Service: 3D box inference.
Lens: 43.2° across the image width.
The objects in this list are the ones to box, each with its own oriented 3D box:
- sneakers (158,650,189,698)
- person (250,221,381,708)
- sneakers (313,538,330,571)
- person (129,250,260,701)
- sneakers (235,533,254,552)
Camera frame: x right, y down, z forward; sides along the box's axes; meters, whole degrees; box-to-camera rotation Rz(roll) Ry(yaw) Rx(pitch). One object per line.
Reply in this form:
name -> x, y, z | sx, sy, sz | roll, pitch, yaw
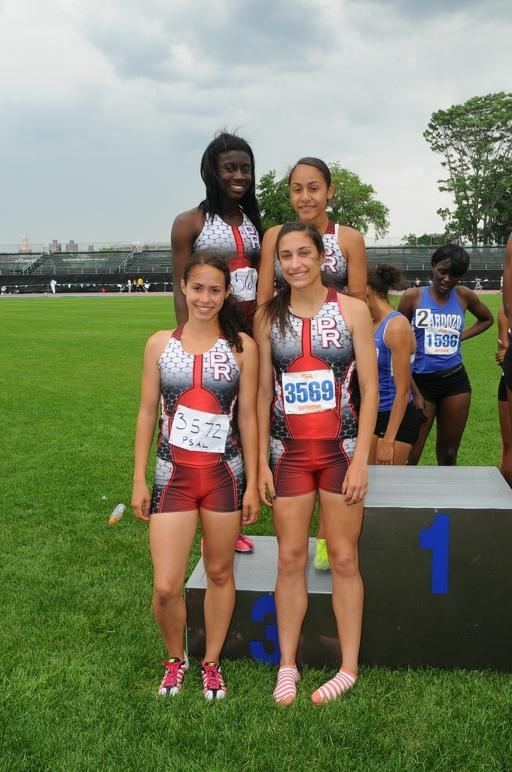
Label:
sneakers -> -0.343, 1.180, 2.655 | 0.101, 0.099, 0.233 | -2, 6, 0
person -> 0.257, 0.371, 2.635 | 0.499, 1.675, 0.510 | -2, 7, 1
sneakers -> 0.319, 0.818, 3.097 | 0.094, 0.176, 0.066 | -2, -22, 22
person -> -0.225, 0.334, 2.675 | 0.568, 1.767, 0.511 | -4, 7, -20
sneakers -> -0.056, 0.829, 3.431 | 0.072, 0.071, 0.195 | -5, -7, -6
